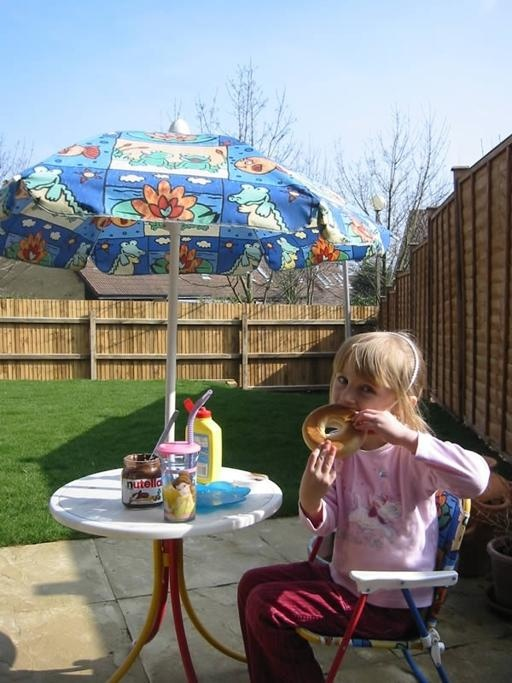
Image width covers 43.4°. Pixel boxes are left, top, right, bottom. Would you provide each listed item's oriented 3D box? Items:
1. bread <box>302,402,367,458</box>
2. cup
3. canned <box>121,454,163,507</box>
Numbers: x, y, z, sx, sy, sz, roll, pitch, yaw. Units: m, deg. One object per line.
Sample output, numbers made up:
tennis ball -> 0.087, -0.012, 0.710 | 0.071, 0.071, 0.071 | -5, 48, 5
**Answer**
bread -> 0.258, 0.265, 1.968 | 0.167, 0.150, 0.148 | -4, 6, -44
cup -> -0.240, 0.431, 2.030 | 0.155, 0.216, 0.133 | -4, 9, -24
canned -> -0.373, 0.471, 2.230 | 0.194, 0.171, 0.175 | 0, 1, 0
